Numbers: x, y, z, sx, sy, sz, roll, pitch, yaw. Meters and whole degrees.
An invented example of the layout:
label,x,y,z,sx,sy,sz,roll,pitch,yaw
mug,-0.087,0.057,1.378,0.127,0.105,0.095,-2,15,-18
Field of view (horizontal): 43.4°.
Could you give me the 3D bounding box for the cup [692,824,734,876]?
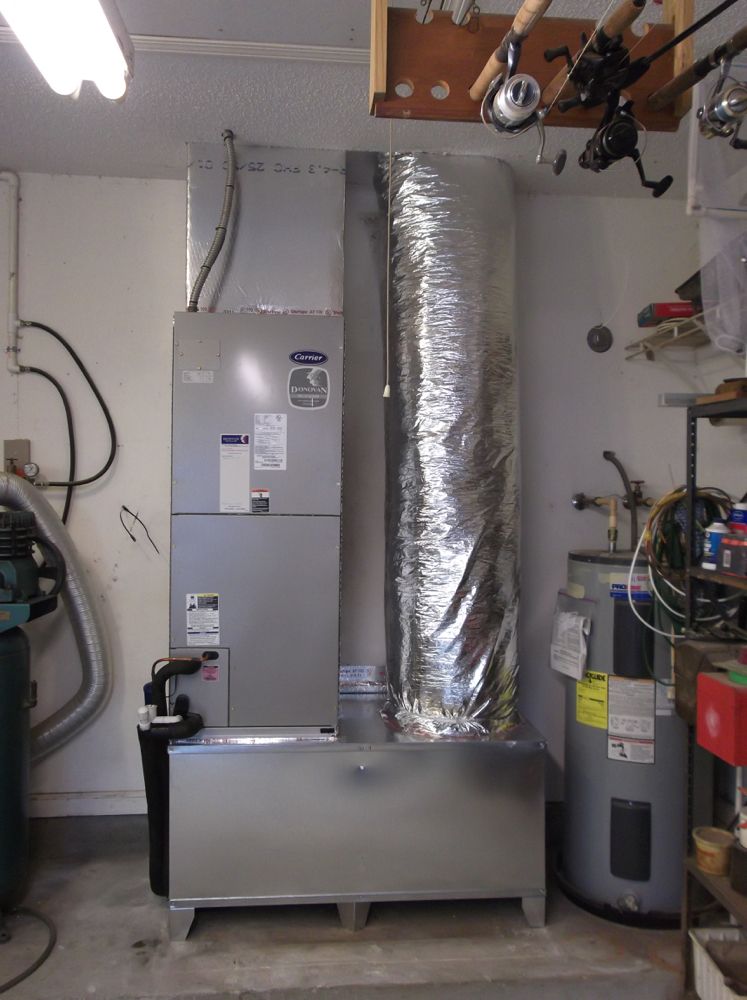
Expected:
label,x,y,z,sx,sy,sz,roll,pitch,yaw
cup,0.865,0.900,2.391,0.089,0.066,0.089,1,1,0
